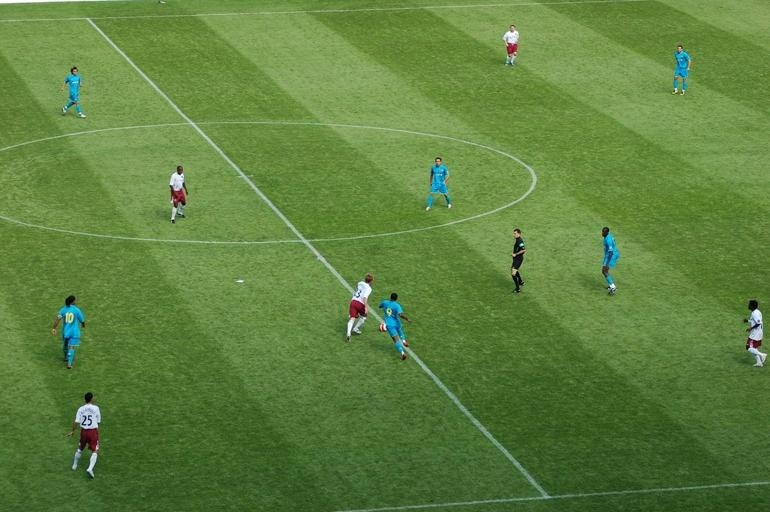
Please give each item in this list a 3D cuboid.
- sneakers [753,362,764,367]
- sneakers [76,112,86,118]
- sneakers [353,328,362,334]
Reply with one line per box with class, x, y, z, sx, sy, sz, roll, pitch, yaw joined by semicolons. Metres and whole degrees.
sneakers;13.752;4.082;53.265;0.366;0.219;0.108;7;61;27
sneakers;-14.938;-6.972;71.299;0.518;0.180;0.172;14;31;37
sneakers;-1.041;2.915;54.876;0.159;0.323;0.143;5;69;23
